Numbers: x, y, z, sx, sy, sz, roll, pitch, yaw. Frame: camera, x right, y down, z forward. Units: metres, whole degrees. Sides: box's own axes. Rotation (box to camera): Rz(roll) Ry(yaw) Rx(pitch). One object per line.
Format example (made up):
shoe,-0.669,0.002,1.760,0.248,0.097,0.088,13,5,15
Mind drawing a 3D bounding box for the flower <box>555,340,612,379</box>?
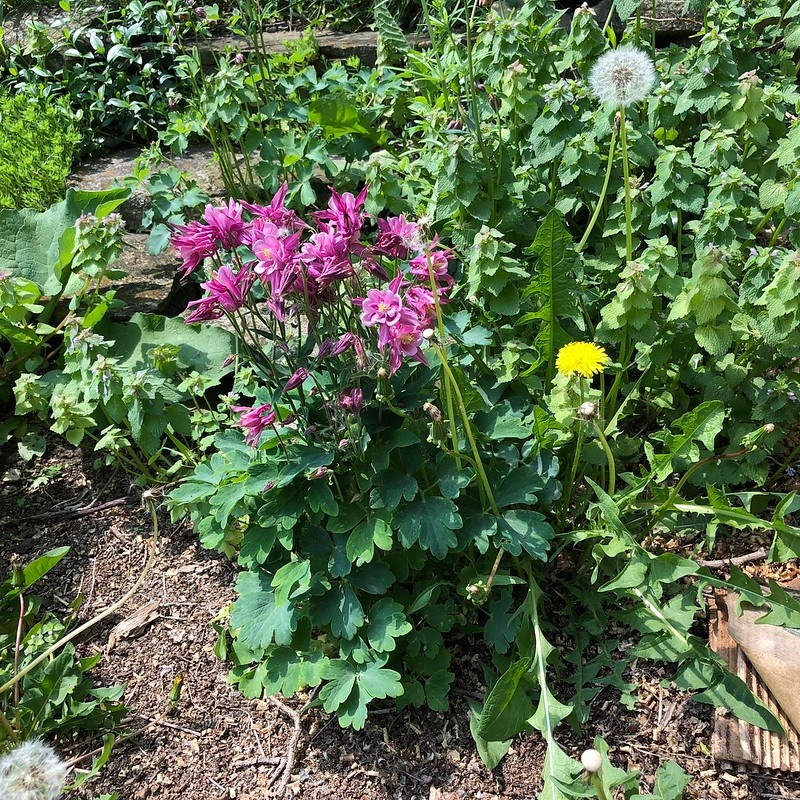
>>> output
flower,0.449,-0.089,1.802,0.110,0.094,0.077,-1,28,-2
